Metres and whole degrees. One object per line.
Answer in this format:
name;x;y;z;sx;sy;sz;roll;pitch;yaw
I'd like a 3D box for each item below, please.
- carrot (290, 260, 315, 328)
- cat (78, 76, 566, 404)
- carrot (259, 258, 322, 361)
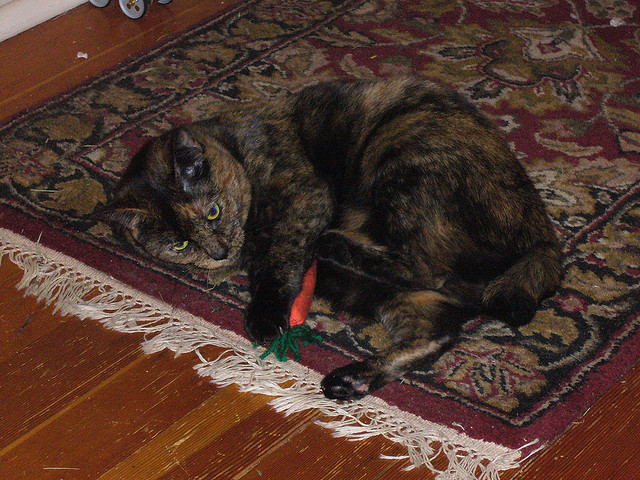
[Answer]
carrot;-0.038;0.161;1.951;0.042;0.024;0.182;25;57;-14
cat;0.097;-0.069;2.031;0.997;0.520;1.082;-33;49;-28
carrot;-0.059;0.200;1.935;0.162;0.040;0.240;8;56;25
